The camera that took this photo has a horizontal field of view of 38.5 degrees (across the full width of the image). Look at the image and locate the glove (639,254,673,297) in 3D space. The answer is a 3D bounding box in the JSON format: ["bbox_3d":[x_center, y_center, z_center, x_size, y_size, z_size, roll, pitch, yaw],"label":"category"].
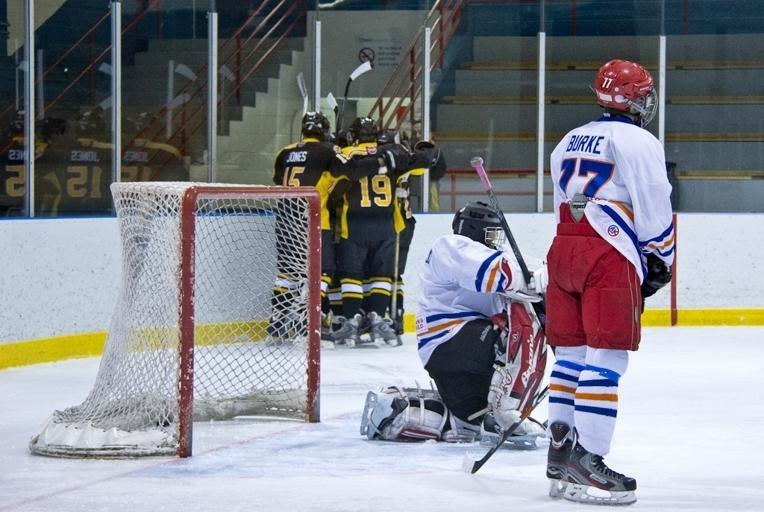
[{"bbox_3d":[1.430,0.092,5.517,0.173,0.203,0.212,2,11,-3],"label":"glove"}]

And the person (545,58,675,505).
[{"bbox_3d":[1.130,0.113,5.438,0.616,2.202,0.352,1,-1,9],"label":"person"}]

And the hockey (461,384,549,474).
[{"bbox_3d":[0.664,0.943,5.933,0.087,0.084,0.784,3,34,45],"label":"hockey"}]

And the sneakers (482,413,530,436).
[{"bbox_3d":[0.667,0.919,5.954,0.189,0.082,0.104,12,-4,-1],"label":"sneakers"}]

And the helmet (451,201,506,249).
[{"bbox_3d":[0.536,-0.165,6.098,0.302,0.273,0.228,3,8,-1],"label":"helmet"}]

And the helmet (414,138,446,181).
[{"bbox_3d":[0.446,-0.825,9.441,0.269,0.337,0.153,4,-5,-9],"label":"helmet"}]

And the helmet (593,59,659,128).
[{"bbox_3d":[1.244,-0.852,5.625,0.376,0.324,0.282,-15,22,-37],"label":"helmet"}]

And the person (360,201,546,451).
[{"bbox_3d":[0.634,0.433,6.303,1.391,1.441,1.163,-2,4,-11],"label":"person"}]

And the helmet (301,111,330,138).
[{"bbox_3d":[-0.583,-1.098,9.145,0.192,0.222,0.244,3,2,14],"label":"helmet"}]

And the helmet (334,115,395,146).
[{"bbox_3d":[-0.112,-1.047,9.255,0.319,0.321,0.384,1,10,-9],"label":"helmet"}]
